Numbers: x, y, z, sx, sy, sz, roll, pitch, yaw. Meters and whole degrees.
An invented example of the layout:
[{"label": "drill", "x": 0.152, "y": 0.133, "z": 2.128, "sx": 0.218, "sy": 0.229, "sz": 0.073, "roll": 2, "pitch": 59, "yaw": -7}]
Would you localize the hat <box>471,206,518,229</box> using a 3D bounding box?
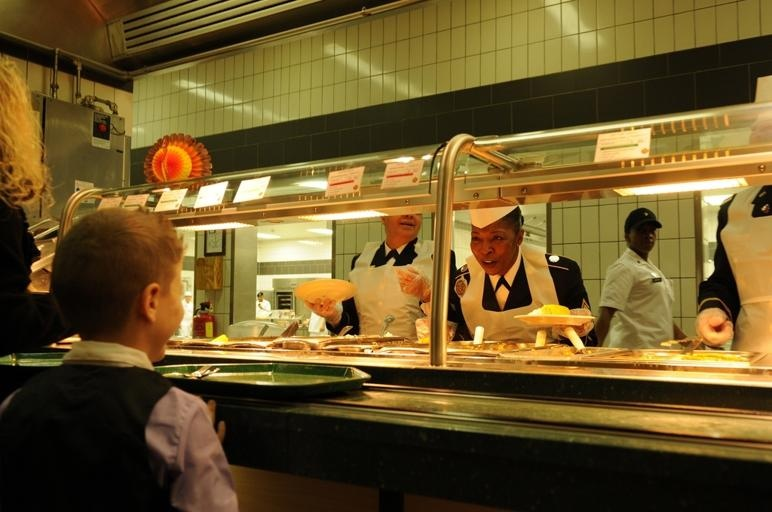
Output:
[{"label": "hat", "x": 0.522, "y": -0.195, "z": 3.093, "sx": 0.168, "sy": 0.104, "sz": 0.136, "roll": -26, "pitch": 10, "yaw": -13}]
